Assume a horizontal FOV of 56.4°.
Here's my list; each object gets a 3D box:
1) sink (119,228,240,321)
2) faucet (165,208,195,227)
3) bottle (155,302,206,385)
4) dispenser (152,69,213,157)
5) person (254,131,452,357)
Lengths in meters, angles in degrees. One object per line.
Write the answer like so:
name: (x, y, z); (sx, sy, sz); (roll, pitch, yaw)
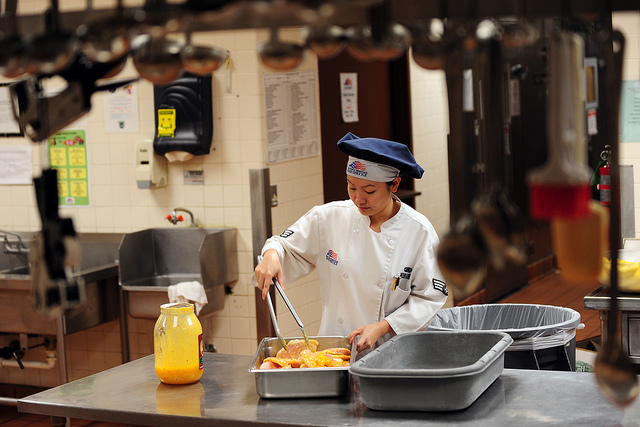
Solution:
sink: (-1.069, 0.458, 4.417); (0.741, 0.666, 0.477); (0, 5, 25)
faucet: (-1.085, 0.039, 4.572); (0.232, 0.150, 0.088); (-1, 3, 24)
bottle: (-0.544, 0.494, 2.311); (0.165, 0.305, 0.191); (0, 10, -13)
dispenser: (-1.029, -0.707, 4.415); (0.525, 0.578, 0.239); (-1, 3, 28)
person: (0.161, 0.296, 2.840); (0.824, 1.350, 0.727); (6, 3, 11)
